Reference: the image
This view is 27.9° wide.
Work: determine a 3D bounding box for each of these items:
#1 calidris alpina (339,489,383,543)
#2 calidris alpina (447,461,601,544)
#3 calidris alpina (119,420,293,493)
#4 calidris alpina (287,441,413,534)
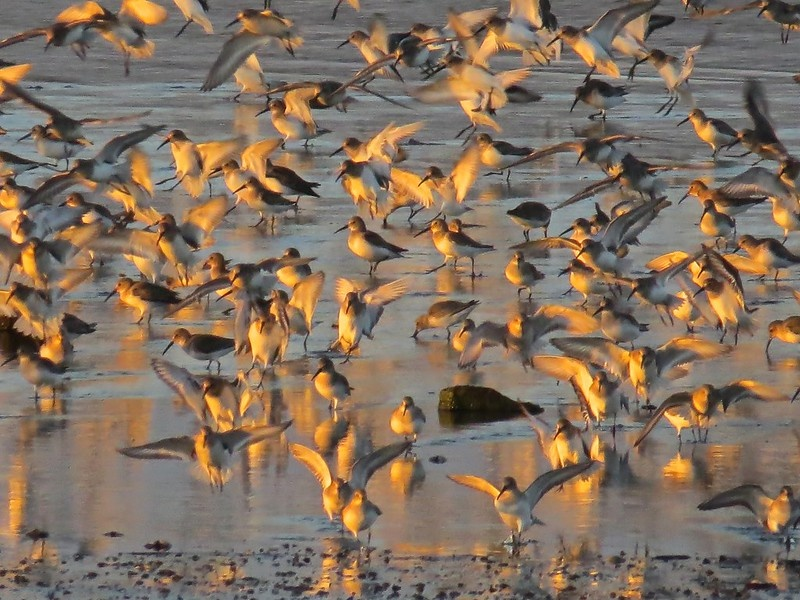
[{"bbox_3d":[-0.343,1.866,14.069,0.333,0.434,0.389,-1,-5,-2],"label":"calidris alpina"},{"bbox_3d":[1.063,1.777,14.105,1.243,0.718,0.445,-1,-5,2],"label":"calidris alpina"},{"bbox_3d":[-1.794,1.446,14.846,1.481,0.596,0.550,-1,-5,-2],"label":"calidris alpina"},{"bbox_3d":[-0.387,1.620,14.191,1.101,0.804,0.528,-3,-48,-5],"label":"calidris alpina"}]
